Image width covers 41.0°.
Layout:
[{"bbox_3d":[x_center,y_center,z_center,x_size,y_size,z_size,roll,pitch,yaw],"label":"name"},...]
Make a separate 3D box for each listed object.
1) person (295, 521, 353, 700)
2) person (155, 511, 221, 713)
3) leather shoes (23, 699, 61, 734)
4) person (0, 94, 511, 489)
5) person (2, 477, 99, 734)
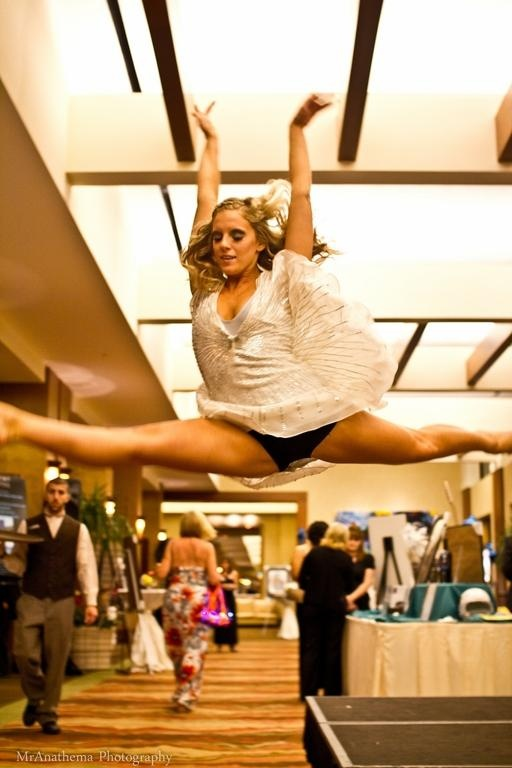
[{"bbox_3d":[0.458,1.561,4.738,0.410,1.151,0.351,-4,-14,19],"label":"person"},{"bbox_3d":[-0.499,1.641,5.005,0.494,1.396,0.395,-2,-14,10],"label":"person"},{"bbox_3d":[-1.206,1.844,3.811,0.162,0.163,0.334,6,-14,-25],"label":"leather shoes"},{"bbox_3d":[-0.086,0.007,1.413,0.464,0.734,1.056,-16,-21,40],"label":"person"},{"bbox_3d":[-1.164,1.238,3.904,0.384,1.386,0.527,-7,-15,27],"label":"person"}]
